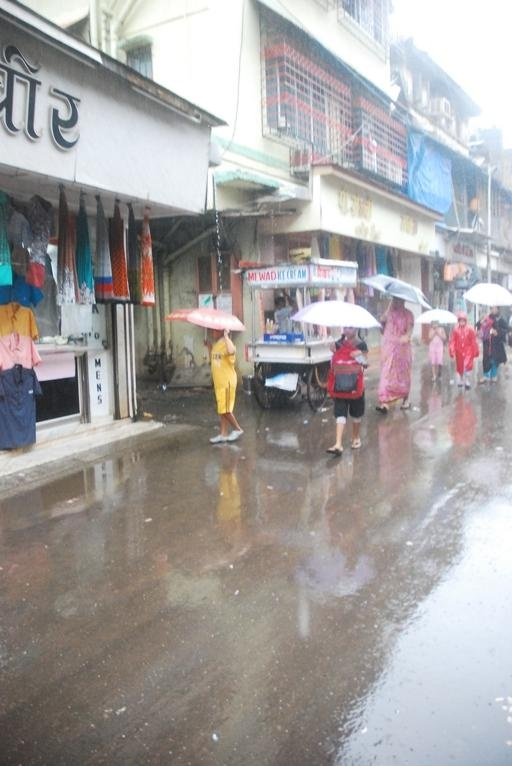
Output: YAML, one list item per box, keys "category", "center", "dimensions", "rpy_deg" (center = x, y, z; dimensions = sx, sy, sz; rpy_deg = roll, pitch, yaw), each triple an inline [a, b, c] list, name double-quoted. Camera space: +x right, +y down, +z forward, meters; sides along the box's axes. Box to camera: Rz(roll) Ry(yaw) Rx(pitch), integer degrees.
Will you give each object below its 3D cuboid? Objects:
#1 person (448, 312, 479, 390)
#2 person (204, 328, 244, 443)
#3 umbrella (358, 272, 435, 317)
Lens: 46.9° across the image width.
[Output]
- category: "person"
  center: [4.570, -0.657, 12.949]
  dimensions: [0.495, 1.786, 0.362]
  rpy_deg: [-11, -33, 36]
- category: "person"
  center: [-0.427, -0.012, 8.605]
  dimensions: [0.454, 1.545, 1.981]
  rpy_deg: [-1, 6, -2]
- category: "umbrella"
  center: [2.277, -1.535, 9.738]
  dimensions: [0.740, 0.537, 1.382]
  rpy_deg: [-3, 6, -15]
